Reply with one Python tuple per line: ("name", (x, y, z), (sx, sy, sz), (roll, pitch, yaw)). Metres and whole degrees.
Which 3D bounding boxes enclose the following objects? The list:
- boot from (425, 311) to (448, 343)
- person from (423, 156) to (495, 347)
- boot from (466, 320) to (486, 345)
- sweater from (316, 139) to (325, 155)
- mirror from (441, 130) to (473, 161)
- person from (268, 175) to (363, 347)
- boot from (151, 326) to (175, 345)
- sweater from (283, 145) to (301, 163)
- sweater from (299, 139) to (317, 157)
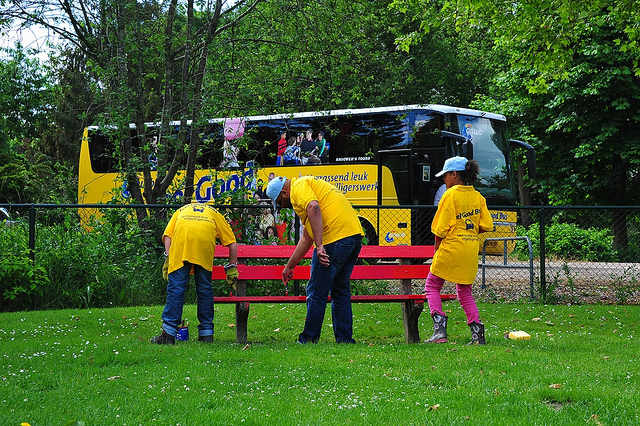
("boot", (2.009, 1.959, 11.287), (0.347, 0.530, 0.232), (0, -5, 16))
("person", (2.387, 0.648, 11.316), (1.083, 3.206, 0.826), (0, -5, 13))
("boot", (2.666, 2.029, 11.145), (0.301, 0.405, 0.220), (0, -5, 14))
("sweater", (-0.017, -2.102, 21.364), (0.343, 0.501, 0.068), (-2, -6, 36))
("mirror", (4.313, -2.026, 20.242), (1.178, 0.750, 0.919), (0, 1, 7))
("person", (-0.025, 0.815, 10.947), (1.416, 2.760, 0.766), (2, -5, -6))
("boot", (-2.699, 2.143, 11.369), (0.400, 0.425, 0.187), (11, -7, 1))
("sweater", (-0.947, -1.887, 21.686), (0.529, 0.550, 0.432), (-1, 12, -10))
("sweater", (-0.388, -2.099, 21.569), (0.640, 0.590, 0.120), (-1, -5, 22))
